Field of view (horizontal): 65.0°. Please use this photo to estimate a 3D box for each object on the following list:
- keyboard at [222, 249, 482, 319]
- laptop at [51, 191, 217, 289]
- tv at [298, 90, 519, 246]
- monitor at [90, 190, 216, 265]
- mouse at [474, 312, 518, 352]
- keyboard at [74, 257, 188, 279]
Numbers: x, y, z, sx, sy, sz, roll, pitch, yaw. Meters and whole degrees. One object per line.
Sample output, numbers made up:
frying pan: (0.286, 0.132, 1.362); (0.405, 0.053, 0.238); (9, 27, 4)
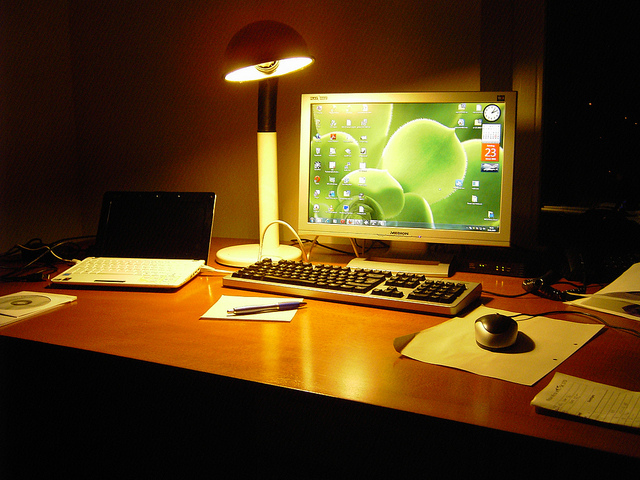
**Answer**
keyboard: (0.072, 0.113, 1.275); (0.634, 0.103, 0.150); (1, 7, 20)
laptop: (-0.501, -0.082, 1.417); (0.328, 0.209, 0.294); (2, 13, 13)
tv: (0.261, -0.218, 1.447); (0.422, 0.325, 0.046); (4, 3, 19)
monitor: (-0.488, -0.025, 1.403); (0.352, 0.211, 0.288); (3, 4, 7)
mouse: (0.363, 0.179, 1.030); (0.096, 0.059, 0.096); (-2, 5, -23)
keyboard: (-0.512, 0.075, 1.393); (0.287, 0.032, 0.131); (0, 7, 12)
